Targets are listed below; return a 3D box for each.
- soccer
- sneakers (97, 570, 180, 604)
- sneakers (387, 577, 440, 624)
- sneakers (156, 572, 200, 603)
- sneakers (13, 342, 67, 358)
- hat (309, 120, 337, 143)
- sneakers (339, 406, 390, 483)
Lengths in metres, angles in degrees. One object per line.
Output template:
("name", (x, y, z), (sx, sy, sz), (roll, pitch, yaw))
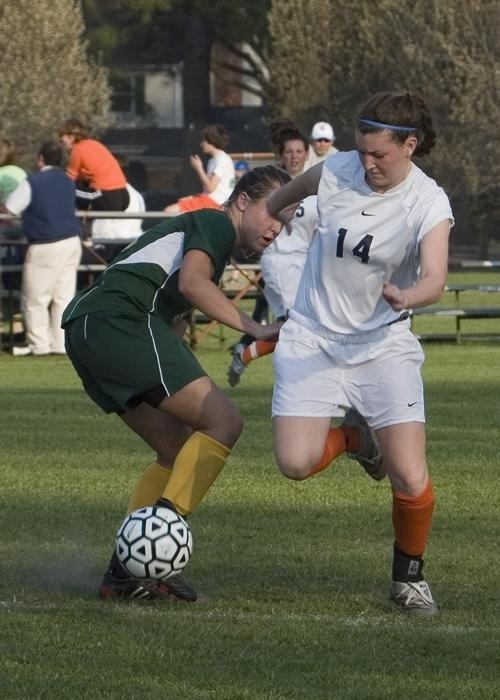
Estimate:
("soccer", (-0.347, 0.609, 3.412), (0.314, 0.225, 0.229), (0, 52, -11))
("sneakers", (-0.382, 0.794, 3.505), (0.176, 0.055, 0.142), (3, -9, 8))
("sneakers", (0.533, 0.803, 3.412), (0.147, 0.088, 0.190), (2, 15, 4))
("sneakers", (-0.238, 0.776, 3.513), (0.143, 0.069, 0.059), (11, 38, 37))
("sneakers", (-1.954, 0.001, 9.863), (0.502, 0.164, 0.152), (-1, -1, 9))
("hat", (0.612, -1.883, 9.101), (0.211, 0.152, 0.279), (1, 3, 4))
("sneakers", (0.495, 0.370, 4.128), (0.105, 0.271, 0.164), (-34, 22, 16))
